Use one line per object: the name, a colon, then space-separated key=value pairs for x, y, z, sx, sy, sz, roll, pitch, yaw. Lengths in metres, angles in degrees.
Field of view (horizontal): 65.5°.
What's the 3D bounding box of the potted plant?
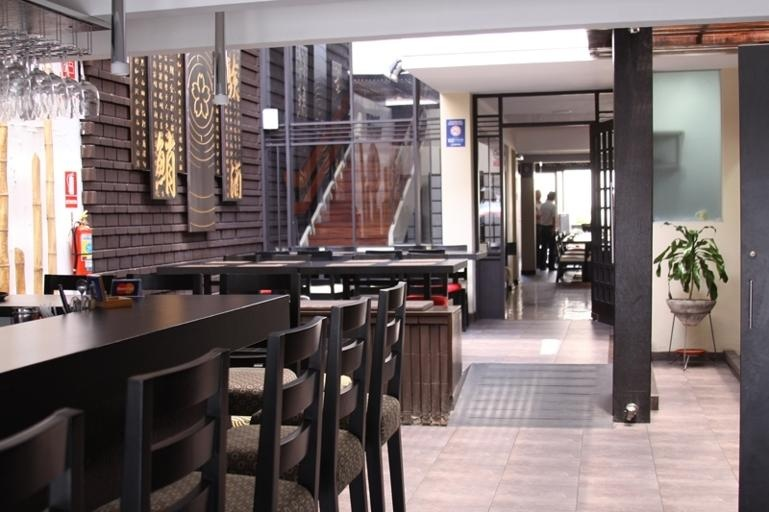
potted plant: x=3.619 y=0.211 z=7.086 sx=0.782 sy=1.204 sz=0.627 roll=2 pitch=7 yaw=21
